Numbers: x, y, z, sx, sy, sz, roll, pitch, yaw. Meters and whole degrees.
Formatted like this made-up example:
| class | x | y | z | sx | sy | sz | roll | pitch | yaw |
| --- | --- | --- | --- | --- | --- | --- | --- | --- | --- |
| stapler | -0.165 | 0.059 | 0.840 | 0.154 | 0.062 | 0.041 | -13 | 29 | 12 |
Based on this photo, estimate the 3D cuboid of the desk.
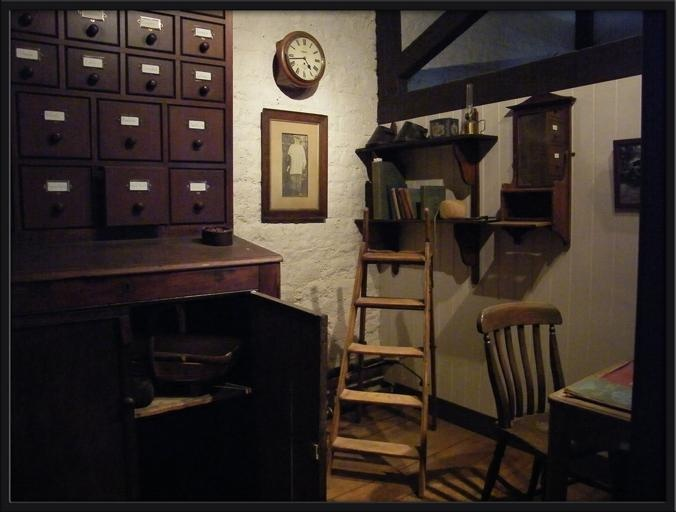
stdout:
| class | x | y | z | sx | sy | sz | roll | pitch | yaw |
| --- | --- | --- | --- | --- | --- | --- | --- | --- | --- |
| desk | 1.018 | 0.710 | 2.190 | 0.423 | 0.482 | 0.271 | -3 | 6 | -36 |

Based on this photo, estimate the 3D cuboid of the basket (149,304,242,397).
| class | x | y | z | sx | sy | sz | roll | pitch | yaw |
| --- | --- | --- | --- | --- | --- | --- | --- | --- | --- |
| basket | -0.713 | 0.513 | 2.839 | 0.396 | 0.203 | 0.297 | 1 | -1 | -3 |

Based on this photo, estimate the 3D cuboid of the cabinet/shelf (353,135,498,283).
| class | x | y | z | sx | sy | sz | roll | pitch | yaw |
| --- | --- | --- | --- | --- | --- | --- | --- | --- | --- |
| cabinet/shelf | 0.588 | -0.333 | 3.665 | 0.288 | 0.897 | 0.987 | 0 | 1 | -39 |

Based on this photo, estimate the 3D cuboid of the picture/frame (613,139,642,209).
| class | x | y | z | sx | sy | sz | roll | pitch | yaw |
| --- | --- | --- | --- | --- | --- | --- | --- | --- | --- |
| picture/frame | 1.499 | -0.414 | 2.870 | 0.188 | 0.359 | 0.025 | 4 | 17 | 44 |
